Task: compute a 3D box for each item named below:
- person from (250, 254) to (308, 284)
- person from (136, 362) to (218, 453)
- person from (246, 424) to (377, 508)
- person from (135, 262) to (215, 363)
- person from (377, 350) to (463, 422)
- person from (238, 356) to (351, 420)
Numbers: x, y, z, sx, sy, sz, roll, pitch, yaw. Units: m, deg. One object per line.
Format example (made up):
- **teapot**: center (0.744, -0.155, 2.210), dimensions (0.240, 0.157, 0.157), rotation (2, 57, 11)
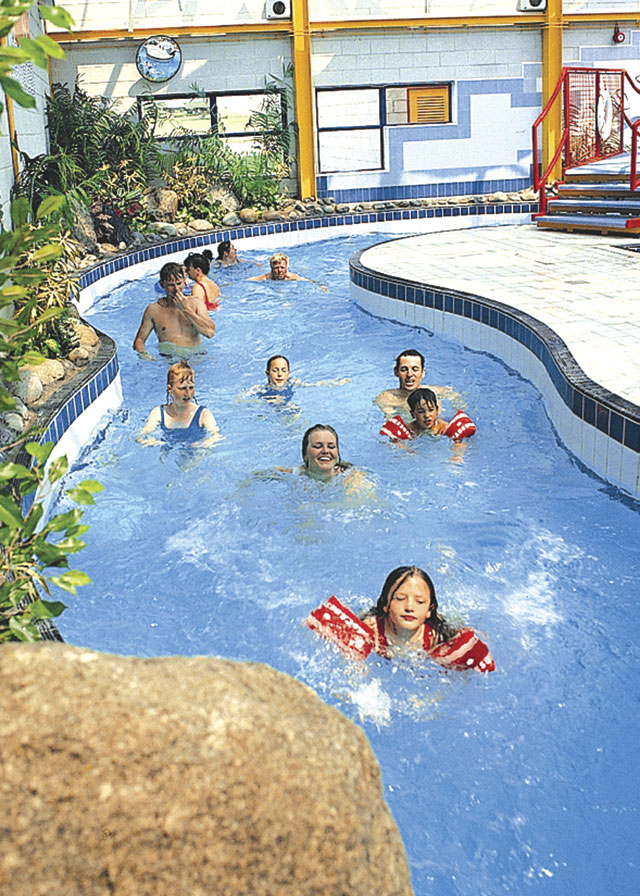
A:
- **person**: center (-0.626, -2.736, 10.189), dimensions (0.731, 0.426, 0.351), rotation (6, 17, 30)
- **person**: center (-1.101, -0.294, 5.331), dimensions (0.636, 0.784, 0.590), rotation (4, 12, 0)
- **person**: center (-0.035, 0.067, 4.579), dimensions (0.829, 0.491, 0.398), rotation (0, 15, 13)
- **person**: center (-1.604, -1.491, 7.313), dimensions (0.901, 1.004, 0.620), rotation (5, 17, 29)
- **person**: center (0.859, -0.577, 5.879), dimensions (0.721, 0.578, 0.641), rotation (-11, 21, -10)
- **person**: center (-0.244, -0.551, 6.375), dimensions (0.863, 0.270, 0.876), rotation (-10, 30, -27)
